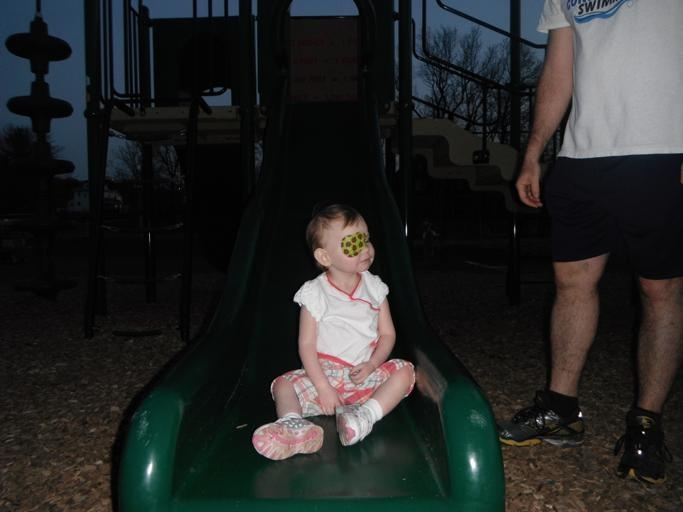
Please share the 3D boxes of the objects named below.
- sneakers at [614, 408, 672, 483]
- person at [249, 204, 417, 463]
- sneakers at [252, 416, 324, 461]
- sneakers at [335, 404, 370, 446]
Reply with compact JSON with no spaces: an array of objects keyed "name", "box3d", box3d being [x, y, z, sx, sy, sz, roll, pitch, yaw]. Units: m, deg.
[{"name":"sneakers","box3d":[1.167,0.675,2.289,0.137,0.166,0.356,-3,30,16]},{"name":"person","box3d":[-0.011,0.260,2.331,0.610,0.984,0.780,2,1,-1]},{"name":"sneakers","box3d":[-0.174,0.579,1.959,0.174,0.078,0.127,1,5,-41]},{"name":"sneakers","box3d":[0.042,0.582,2.033,0.116,0.107,0.118,-2,14,-10]}]
